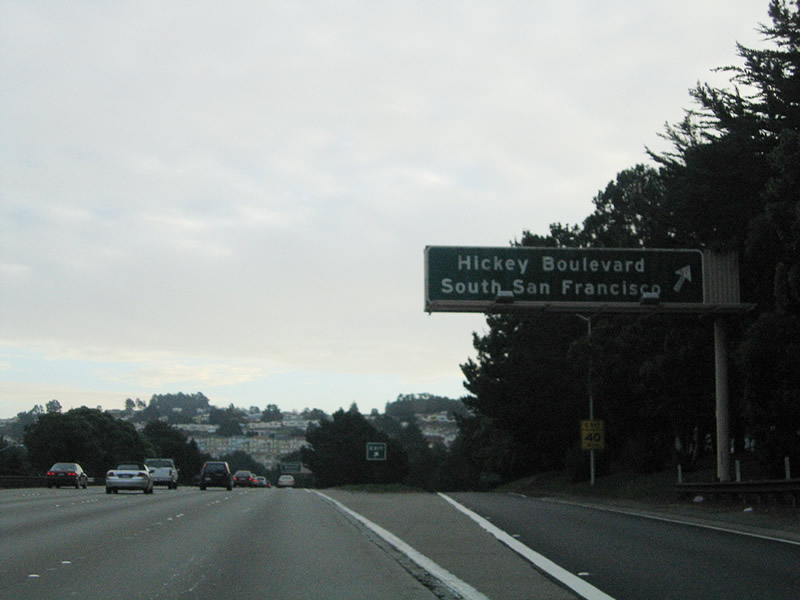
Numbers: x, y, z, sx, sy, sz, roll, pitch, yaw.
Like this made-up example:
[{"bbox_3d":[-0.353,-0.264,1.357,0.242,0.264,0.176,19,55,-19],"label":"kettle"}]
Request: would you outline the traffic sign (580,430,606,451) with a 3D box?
[{"bbox_3d":[8.640,6.307,44.650,0.920,0.749,1.506,-1,-13,8],"label":"traffic sign"}]
